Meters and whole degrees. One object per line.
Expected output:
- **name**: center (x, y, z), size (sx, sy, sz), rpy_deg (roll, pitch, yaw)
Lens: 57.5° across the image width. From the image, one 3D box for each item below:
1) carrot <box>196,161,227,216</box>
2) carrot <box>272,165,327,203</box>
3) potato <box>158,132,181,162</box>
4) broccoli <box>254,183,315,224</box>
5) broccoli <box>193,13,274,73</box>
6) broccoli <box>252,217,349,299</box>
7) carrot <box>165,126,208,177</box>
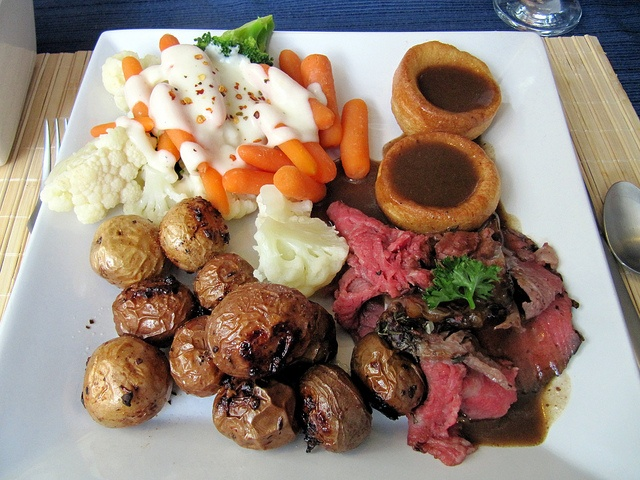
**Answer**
- **carrot**: center (-0.884, -0.428, 4.915), size (0.167, 0.162, 0.511), rpy_deg (-19, 87, 11)
- **carrot**: center (-0.174, -0.437, 4.953), size (0.181, 0.494, 0.190), rpy_deg (-41, 52, 21)
- **potato**: center (-1.284, -0.789, 4.958), size (0.140, 0.093, 0.259), rpy_deg (-34, 73, 19)
- **broccoli**: center (-0.310, -0.282, 4.856), size (0.432, 0.316, 0.249), rpy_deg (-9, 29, -15)
- **broccoli**: center (-0.766, -1.811, 5.273), size (0.560, 0.303, 0.559), rpy_deg (8, 78, -9)
- **broccoli**: center (-0.156, 0.082, 4.741), size (0.824, 0.629, 0.533), rpy_deg (-9, 28, -14)
- **carrot**: center (-1.139, -0.807, 4.908), size (0.176, 0.175, 0.585), rpy_deg (-38, 81, 4)
